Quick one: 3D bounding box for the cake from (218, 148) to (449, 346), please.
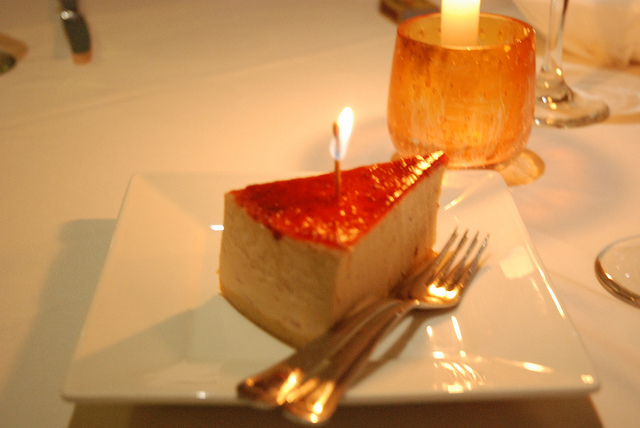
[{"bbox_3d":[0.033,0.052,0.885,0.330,0.189,0.215,-24,42,-31],"label":"cake"}]

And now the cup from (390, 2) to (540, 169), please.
[{"bbox_3d":[0.219,-0.241,1.055,0.278,0.308,0.285,-1,24,0],"label":"cup"}]
